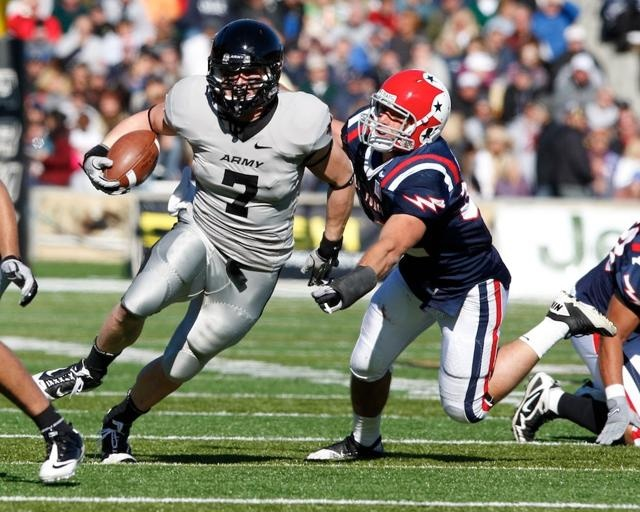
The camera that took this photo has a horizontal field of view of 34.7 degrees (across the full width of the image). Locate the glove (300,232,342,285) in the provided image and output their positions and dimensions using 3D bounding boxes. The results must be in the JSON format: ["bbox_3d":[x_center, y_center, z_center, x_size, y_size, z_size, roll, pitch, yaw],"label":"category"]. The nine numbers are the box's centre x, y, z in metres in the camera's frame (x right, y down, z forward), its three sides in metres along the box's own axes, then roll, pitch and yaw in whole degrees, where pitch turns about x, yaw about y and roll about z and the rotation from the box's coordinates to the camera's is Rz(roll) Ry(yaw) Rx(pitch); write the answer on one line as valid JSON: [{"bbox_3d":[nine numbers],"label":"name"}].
[{"bbox_3d":[0.011,0.019,4.577,0.082,0.229,0.170,5,43,-20],"label":"glove"}]

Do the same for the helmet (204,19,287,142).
[{"bbox_3d":[-0.319,-0.727,4.228,0.305,0.461,0.279,8,15,-8],"label":"helmet"}]

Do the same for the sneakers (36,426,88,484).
[{"bbox_3d":[-0.953,0.726,3.726,0.094,0.129,0.283,-7,16,3],"label":"sneakers"}]

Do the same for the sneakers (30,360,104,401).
[{"bbox_3d":[-1.048,0.502,4.343,0.336,0.124,0.149,-11,2,-15],"label":"sneakers"}]

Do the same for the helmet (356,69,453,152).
[{"bbox_3d":[0.377,-0.624,4.438,0.369,0.350,0.275,9,15,-3],"label":"helmet"}]

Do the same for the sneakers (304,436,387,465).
[{"bbox_3d":[0.114,0.851,4.529,0.346,0.128,0.127,1,-7,-19],"label":"sneakers"}]

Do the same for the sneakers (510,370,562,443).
[{"bbox_3d":[1.066,0.743,5.033,0.197,0.415,0.150,23,-21,20],"label":"sneakers"}]

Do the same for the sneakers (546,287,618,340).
[{"bbox_3d":[1.166,0.272,4.683,0.384,0.165,0.128,28,-17,25],"label":"sneakers"}]

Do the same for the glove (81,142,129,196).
[{"bbox_3d":[-0.910,-0.355,4.268,0.209,0.190,0.154,17,16,25],"label":"glove"}]

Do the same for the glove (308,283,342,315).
[{"bbox_3d":[0.013,0.157,3.718,0.049,0.087,0.115,-43,20,-14],"label":"glove"}]
